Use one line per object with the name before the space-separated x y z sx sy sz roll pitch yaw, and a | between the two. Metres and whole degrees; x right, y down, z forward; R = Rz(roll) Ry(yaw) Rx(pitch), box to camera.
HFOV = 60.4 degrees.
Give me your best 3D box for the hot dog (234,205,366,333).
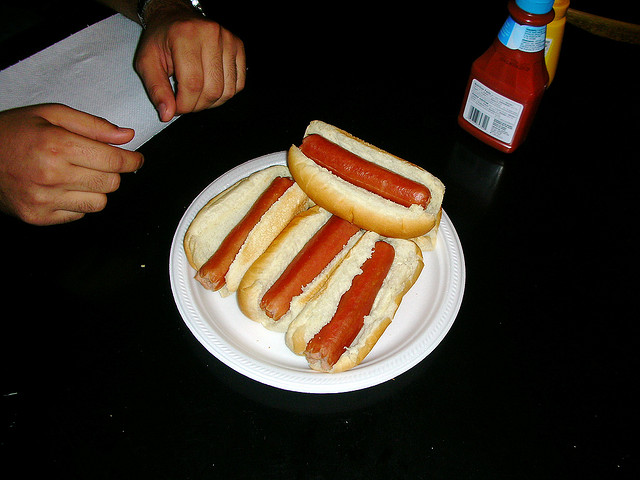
hot dog | -0.144 0.150 3.294 0.455 0.261 1.004 28 70 5
